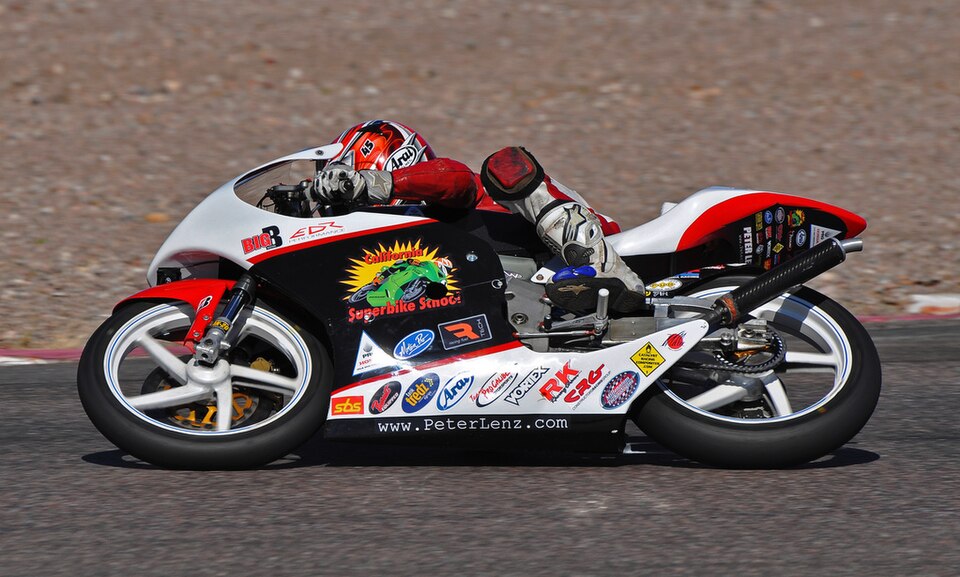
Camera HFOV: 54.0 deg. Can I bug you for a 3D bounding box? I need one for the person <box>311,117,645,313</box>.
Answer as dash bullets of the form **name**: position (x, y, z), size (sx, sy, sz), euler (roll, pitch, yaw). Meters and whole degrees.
- **person**: position (-0.048, -0.479, 6.752), size (3.110, 1.061, 0.916), euler (10, 84, 2)
